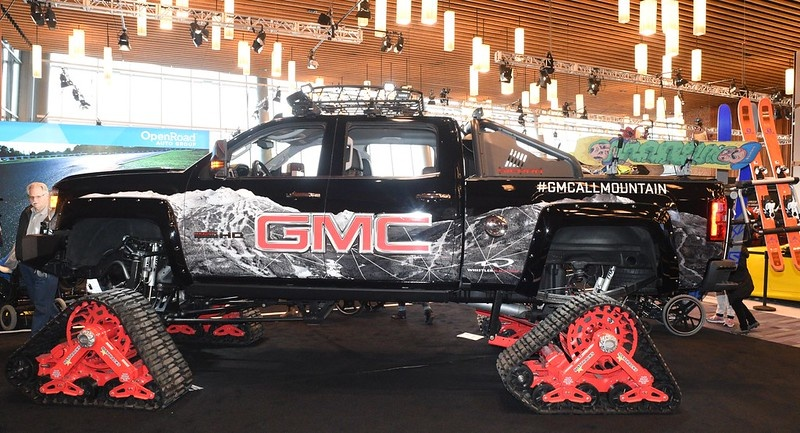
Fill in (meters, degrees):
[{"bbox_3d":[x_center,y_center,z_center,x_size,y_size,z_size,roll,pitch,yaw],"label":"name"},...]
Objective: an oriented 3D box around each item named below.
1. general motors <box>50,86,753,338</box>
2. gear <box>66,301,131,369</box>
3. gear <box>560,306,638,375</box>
[{"bbox_3d":[0.219,0.127,9.227,11.454,3.427,3.991,1,-2,1],"label":"general motors"},{"bbox_3d":[-4.240,1.646,7.433,0.942,0.913,0.185,2,8,5],"label":"gear"},{"bbox_3d":[2.701,1.704,7.683,1.123,0.899,0.995,2,6,-15],"label":"gear"}]
